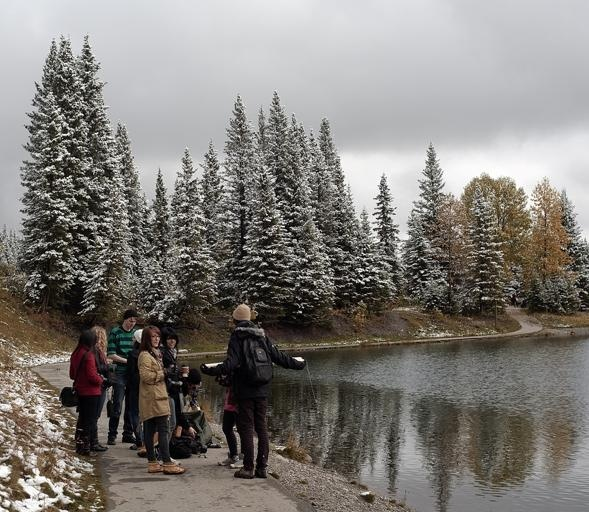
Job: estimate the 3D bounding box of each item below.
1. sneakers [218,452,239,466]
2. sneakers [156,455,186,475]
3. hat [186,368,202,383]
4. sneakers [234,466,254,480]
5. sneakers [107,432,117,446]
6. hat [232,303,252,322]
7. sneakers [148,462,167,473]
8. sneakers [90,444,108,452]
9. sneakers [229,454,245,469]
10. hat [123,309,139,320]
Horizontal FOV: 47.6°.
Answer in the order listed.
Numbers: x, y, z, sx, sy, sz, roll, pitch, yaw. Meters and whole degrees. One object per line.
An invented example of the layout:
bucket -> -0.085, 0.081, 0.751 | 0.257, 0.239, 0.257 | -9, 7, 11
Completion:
sneakers -> -1.174, 3.528, 11.545 | 0.433, 0.203, 0.155 | 0, -5, 17
sneakers -> -1.981, 3.443, 10.969 | 0.223, 0.232, 0.481 | -3, -9, 42
hat -> -1.762, 2.107, 11.674 | 0.273, 0.248, 0.217 | -10, -12, 41
sneakers -> -0.793, 3.528, 10.846 | 0.306, 0.162, 0.147 | 3, -2, 30
sneakers -> -3.553, 3.590, 13.046 | 0.182, 0.222, 0.546 | 5, -9, -16
hat -> -0.850, 0.953, 11.093 | 0.236, 0.218, 0.318 | 0, -2, -20
sneakers -> -2.240, 3.472, 10.942 | 0.136, 0.126, 0.296 | -1, -4, 26
sneakers -> -3.571, 3.546, 12.263 | 0.299, 0.133, 0.102 | -2, -3, 9
sneakers -> -0.990, 3.538, 11.495 | 0.149, 0.177, 0.376 | 1, 5, -4
hat -> -3.186, 1.141, 13.004 | 0.230, 0.168, 0.237 | -1, -5, 41
